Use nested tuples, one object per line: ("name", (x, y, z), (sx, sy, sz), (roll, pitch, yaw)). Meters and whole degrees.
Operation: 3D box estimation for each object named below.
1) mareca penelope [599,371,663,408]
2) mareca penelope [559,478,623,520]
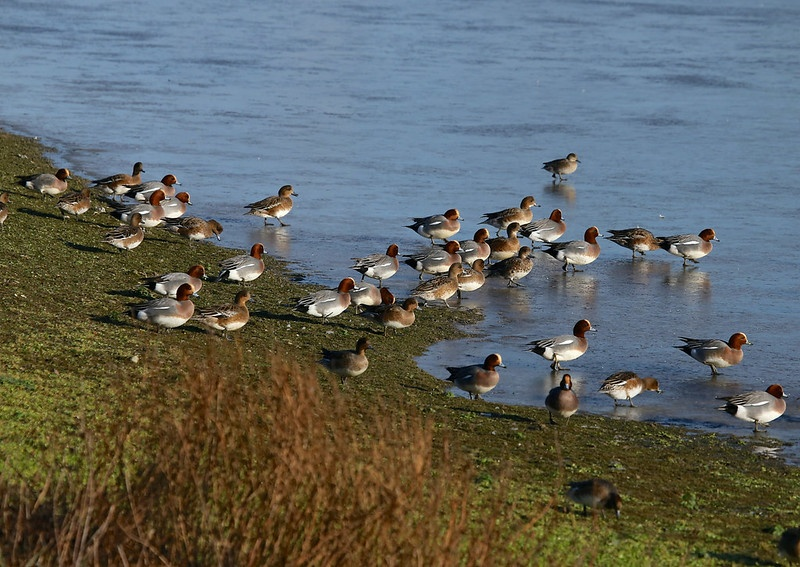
("mareca penelope", (5.451, 2.594, 25.277), (1.798, 0.999, 0.507), (-14, 38, -30))
("mareca penelope", (3.692, 4.120, 19.986), (1.090, 0.697, 0.767), (11, 31, 14))
